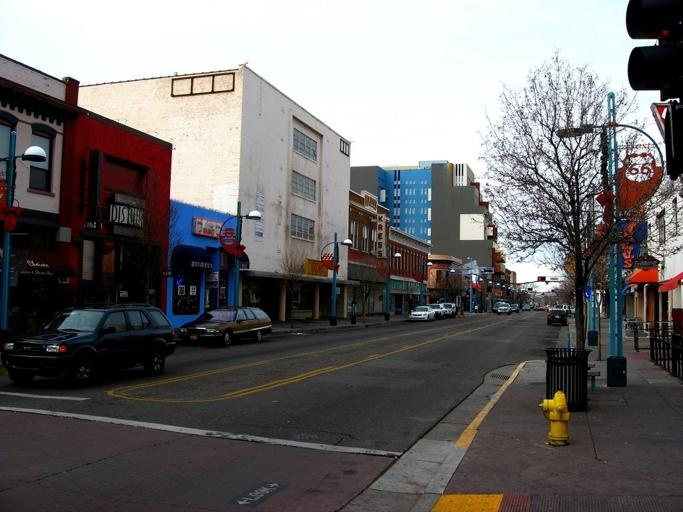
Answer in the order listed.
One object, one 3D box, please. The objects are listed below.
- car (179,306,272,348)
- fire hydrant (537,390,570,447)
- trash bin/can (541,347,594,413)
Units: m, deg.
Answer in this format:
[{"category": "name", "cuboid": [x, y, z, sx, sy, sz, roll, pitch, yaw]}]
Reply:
[{"category": "car", "cuboid": [-5.230, 3.210, 29.434, 2.218, 1.840, 5.486, -3, -6, 19]}, {"category": "fire hydrant", "cuboid": [3.517, 2.657, 10.486, 0.379, 0.883, 0.409, -4, -7, 21]}, {"category": "trash bin/can", "cuboid": [4.691, 2.493, 13.360, 0.903, 1.334, 0.950, 1, -4, 35]}]
